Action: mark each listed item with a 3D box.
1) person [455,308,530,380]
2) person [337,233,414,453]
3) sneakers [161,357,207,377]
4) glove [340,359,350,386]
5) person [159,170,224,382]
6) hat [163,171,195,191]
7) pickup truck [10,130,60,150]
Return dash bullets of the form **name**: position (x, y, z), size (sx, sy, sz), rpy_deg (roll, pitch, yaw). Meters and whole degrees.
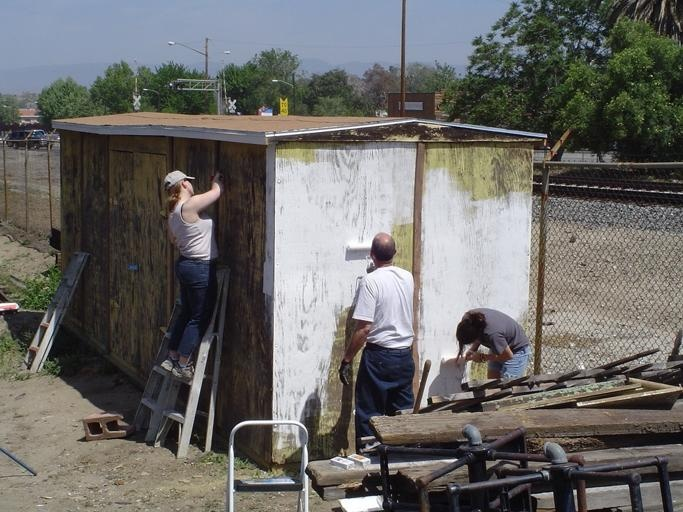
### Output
- **person**: position (1.730, 1.026, 10.534), size (0.929, 0.847, 0.458), rpy_deg (-4, 8, -23)
- **person**: position (0.390, 1.033, 9.937), size (0.771, 1.772, 0.396), rpy_deg (-1, 7, -2)
- **sneakers**: position (-1.877, 1.335, 10.795), size (0.460, 0.199, 0.219), rpy_deg (6, -41, -43)
- **glove**: position (0.037, 1.276, 10.015), size (0.070, 0.261, 0.176), rpy_deg (8, 3, 18)
- **person**: position (-1.727, 0.131, 10.696), size (0.663, 2.194, 0.430), rpy_deg (-1, 7, -2)
- **hat**: position (-1.906, -0.892, 10.735), size (0.324, 0.157, 0.207), rpy_deg (-14, 8, -36)
- **pickup truck**: position (-18.729, -6.958, 54.843), size (2.361, 1.196, 6.881), rpy_deg (-4, 8, -22)
